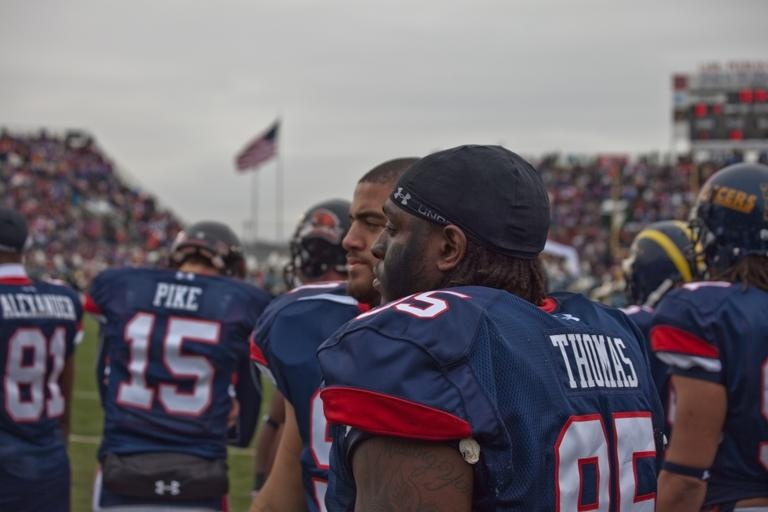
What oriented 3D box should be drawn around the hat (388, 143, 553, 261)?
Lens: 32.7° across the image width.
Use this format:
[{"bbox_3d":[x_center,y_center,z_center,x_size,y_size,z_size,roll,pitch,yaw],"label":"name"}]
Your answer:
[{"bbox_3d":[0.634,-0.356,9.367,0.990,0.523,0.738,21,23,-4],"label":"hat"}]
